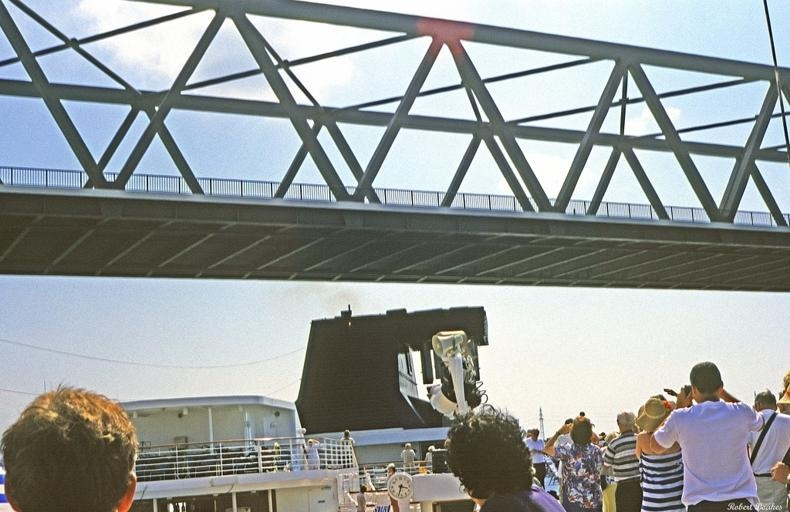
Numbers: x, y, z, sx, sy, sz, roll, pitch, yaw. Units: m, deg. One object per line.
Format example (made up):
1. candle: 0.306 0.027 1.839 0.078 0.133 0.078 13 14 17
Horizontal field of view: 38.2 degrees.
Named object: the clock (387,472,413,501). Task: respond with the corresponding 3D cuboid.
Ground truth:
1. clock: 0.191 6.382 31.194 0.966 0.733 0.369 6 -16 -36
